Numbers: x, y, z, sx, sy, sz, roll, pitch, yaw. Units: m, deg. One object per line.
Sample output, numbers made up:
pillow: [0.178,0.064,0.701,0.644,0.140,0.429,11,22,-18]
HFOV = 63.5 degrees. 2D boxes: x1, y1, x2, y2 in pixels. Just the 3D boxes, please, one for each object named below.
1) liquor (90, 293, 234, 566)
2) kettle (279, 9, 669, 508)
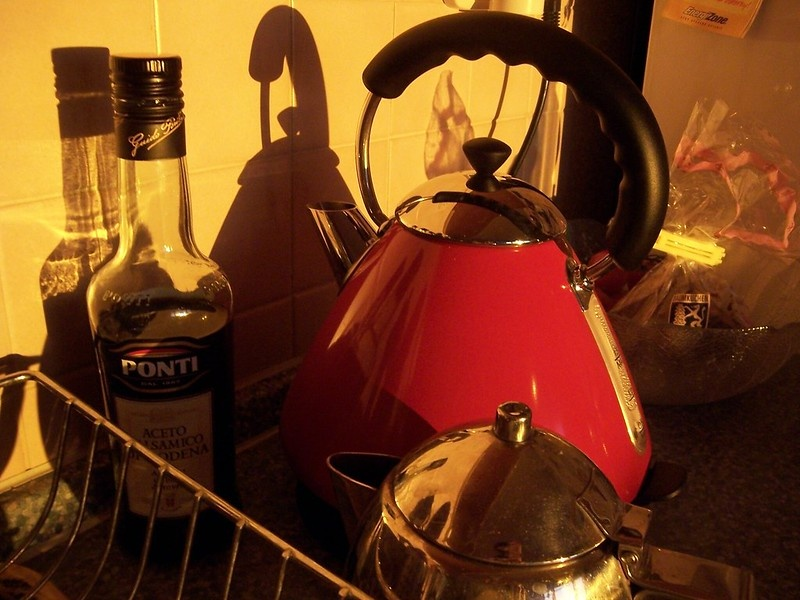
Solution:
liquor: [-0.177,0.100,0.505,0.101,0.195,0.093,-5,27,-13]
kettle: [0.056,-0.037,0.562,0.333,0.377,0.321,13,18,28]
